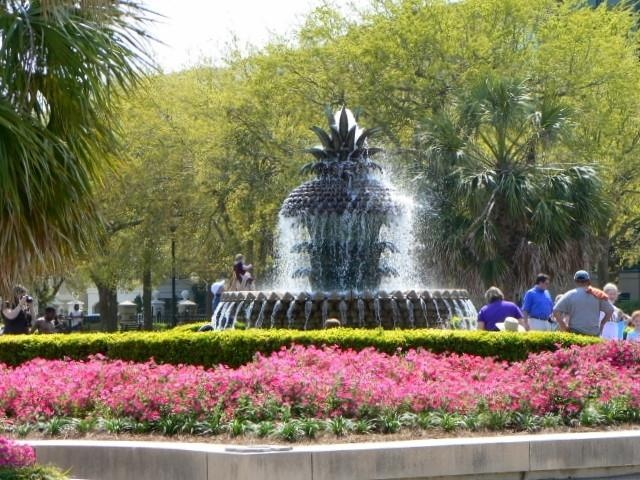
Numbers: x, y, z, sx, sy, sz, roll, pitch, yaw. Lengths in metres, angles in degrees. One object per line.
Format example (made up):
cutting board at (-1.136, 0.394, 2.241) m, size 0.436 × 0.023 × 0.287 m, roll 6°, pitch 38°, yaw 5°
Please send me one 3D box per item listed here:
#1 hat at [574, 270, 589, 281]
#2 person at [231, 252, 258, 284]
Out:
hat at (4.416, 0.614, 17.838) m, size 0.214 × 0.163 × 0.423 m, roll 1°, pitch -3°, yaw 12°
person at (-1.635, 0.694, 22.949) m, size 0.402 × 0.757 × 0.370 m, roll -7°, pitch 13°, yaw -21°
